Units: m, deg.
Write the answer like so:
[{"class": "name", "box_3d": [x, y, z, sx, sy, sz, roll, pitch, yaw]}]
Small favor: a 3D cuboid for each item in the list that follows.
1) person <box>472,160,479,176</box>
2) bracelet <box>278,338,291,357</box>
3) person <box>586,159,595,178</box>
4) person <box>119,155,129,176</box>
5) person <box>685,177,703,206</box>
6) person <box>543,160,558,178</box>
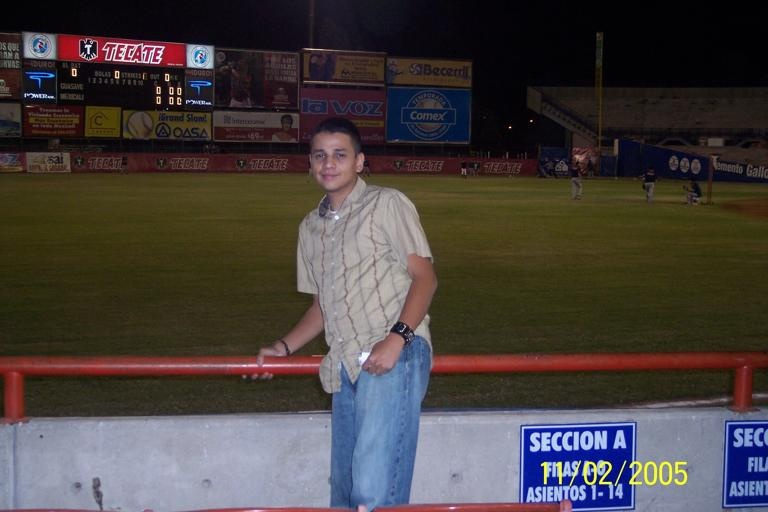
[{"class": "person", "box_3d": [5.410, -5.229, 76.883, 0.440, 0.806, 0.114, -2, 4, -31]}, {"class": "bracelet", "box_3d": [-2.278, 2.107, 29.732, 0.291, 0.354, 0.156, -11, -1, 38]}, {"class": "person", "box_3d": [11.913, -5.136, 74.929, 0.884, 0.949, 0.403, -3, 4, -41]}, {"class": "person", "box_3d": [-13.635, -4.820, 67.726, 0.415, 0.901, 0.518, -1, 4, -18]}, {"class": "person", "box_3d": [12.774, -2.649, 53.582, 0.603, 1.051, 2.589, 1, 3, 14]}, {"class": "person", "box_3d": [9.736, -5.159, 76.532, 0.852, 0.973, 0.455, 1, 4, 18]}]
